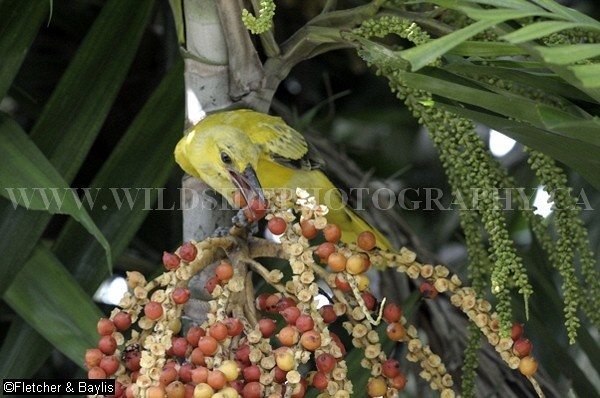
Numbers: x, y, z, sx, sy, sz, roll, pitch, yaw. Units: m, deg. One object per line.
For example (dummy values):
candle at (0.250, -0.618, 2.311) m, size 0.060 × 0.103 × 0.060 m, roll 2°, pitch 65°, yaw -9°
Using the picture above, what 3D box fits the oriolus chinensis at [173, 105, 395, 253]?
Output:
oriolus chinensis at (-0.037, -0.051, 2.191) m, size 0.615 × 0.371 × 0.276 m, roll -6°, pitch 7°, yaw -35°
